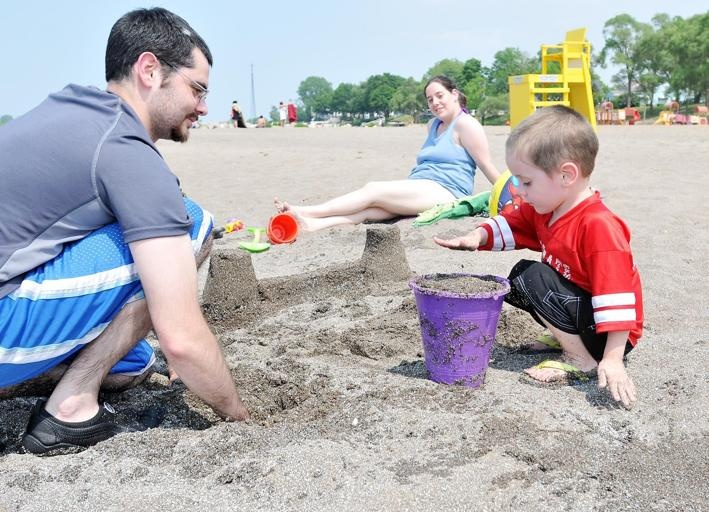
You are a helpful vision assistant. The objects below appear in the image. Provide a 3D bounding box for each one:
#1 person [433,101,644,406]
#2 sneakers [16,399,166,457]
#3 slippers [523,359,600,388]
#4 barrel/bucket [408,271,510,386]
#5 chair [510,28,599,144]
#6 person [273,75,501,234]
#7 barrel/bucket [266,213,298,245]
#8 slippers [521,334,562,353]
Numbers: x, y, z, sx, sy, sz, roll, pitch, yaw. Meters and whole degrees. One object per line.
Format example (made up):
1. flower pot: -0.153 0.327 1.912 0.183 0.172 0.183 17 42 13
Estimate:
1. person: 0.970 -0.048 3.035 0.874 1.291 0.553 8 18 40
2. sneakers: -1.127 0.718 2.769 0.592 0.223 0.232 -1 4 -37
3. slippers: 0.983 0.540 2.994 0.225 0.071 0.141 4 2 -2
4. barrel/bucket: 0.459 0.314 3.095 0.483 0.475 0.489 0 9 0
5. chair: 3.867 -3.474 12.479 1.282 1.677 1.131 -5 15 -10
6. person: 0.280 -0.924 5.936 2.100 1.210 0.858 -12 14 -7
7. barrel/bucket: -0.621 -0.221 5.457 0.261 0.256 0.194 22 -9 -26
8. slippers: 0.974 0.452 3.296 0.216 0.086 0.081 0 5 -5
